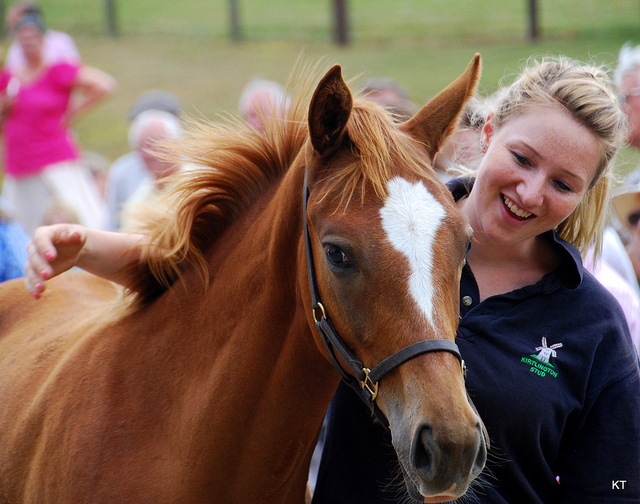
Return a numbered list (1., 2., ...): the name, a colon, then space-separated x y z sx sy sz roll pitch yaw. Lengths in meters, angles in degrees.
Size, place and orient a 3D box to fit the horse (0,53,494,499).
1. horse: -0.374 0.174 4.216 2.207 1.974 1.140 0 16 9
